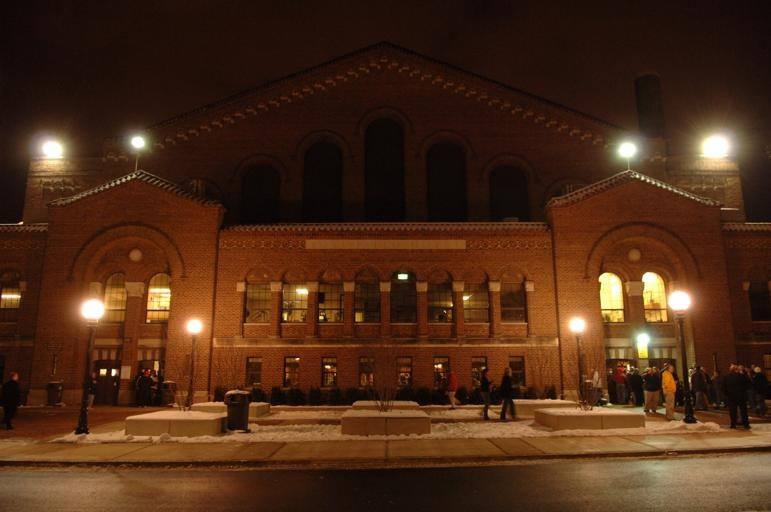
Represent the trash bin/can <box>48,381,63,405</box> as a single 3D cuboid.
[{"bbox_3d":[-21.726,9.075,41.556,1.014,1.504,0.463,3,-15,-11],"label":"trash bin/can"}]
